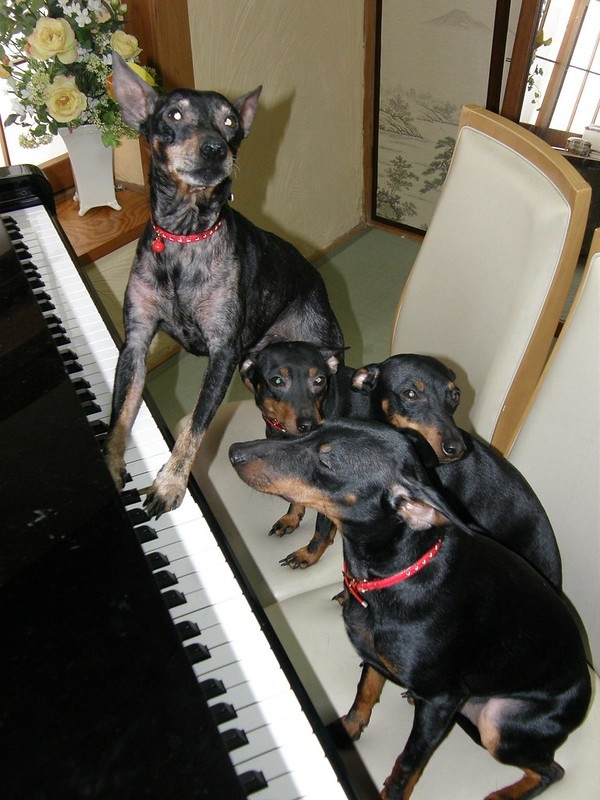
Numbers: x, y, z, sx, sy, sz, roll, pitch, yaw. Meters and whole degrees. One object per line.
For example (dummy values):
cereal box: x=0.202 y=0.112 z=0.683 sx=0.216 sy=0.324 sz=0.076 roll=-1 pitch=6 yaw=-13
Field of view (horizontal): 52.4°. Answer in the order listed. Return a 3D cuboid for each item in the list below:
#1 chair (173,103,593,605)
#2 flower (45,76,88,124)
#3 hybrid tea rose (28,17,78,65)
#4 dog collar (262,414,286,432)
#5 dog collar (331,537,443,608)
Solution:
chair: x=0.103 y=-0.393 z=1.960 sx=0.974 sy=1.490 sz=0.828 roll=-20 pitch=53 yaw=-11
flower: x=-0.943 y=-1.217 z=2.441 sx=0.150 sy=0.140 sz=0.244 roll=-13 pitch=41 yaw=-17
hybrid tea rose: x=-0.966 y=-1.404 z=2.366 sx=0.180 sy=0.139 sz=0.131 roll=-11 pitch=41 yaw=-15
dog collar: x=-0.083 y=0.080 z=1.989 sx=0.068 sy=0.050 sz=0.024 roll=35 pitch=81 yaw=-2
dog collar: x=0.196 y=0.394 z=1.339 sx=0.201 sy=0.047 sz=0.159 roll=-27 pitch=11 yaw=-17
